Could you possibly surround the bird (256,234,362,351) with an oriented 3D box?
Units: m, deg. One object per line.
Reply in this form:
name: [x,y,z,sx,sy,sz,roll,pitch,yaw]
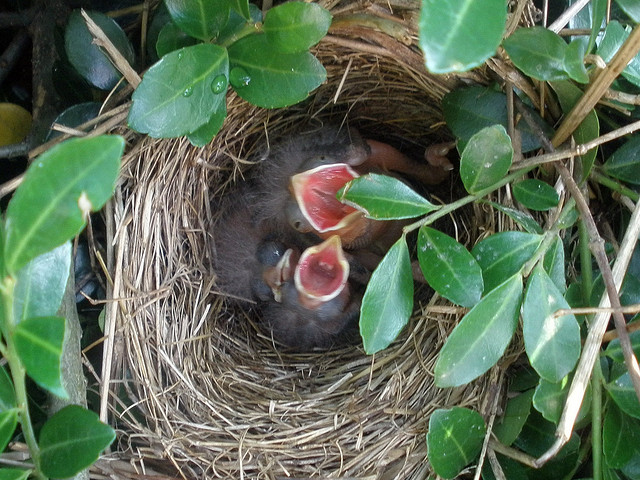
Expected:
bird: [-0.010,0.131,1.709,0.238,0.118,0.346,8,46,11]
